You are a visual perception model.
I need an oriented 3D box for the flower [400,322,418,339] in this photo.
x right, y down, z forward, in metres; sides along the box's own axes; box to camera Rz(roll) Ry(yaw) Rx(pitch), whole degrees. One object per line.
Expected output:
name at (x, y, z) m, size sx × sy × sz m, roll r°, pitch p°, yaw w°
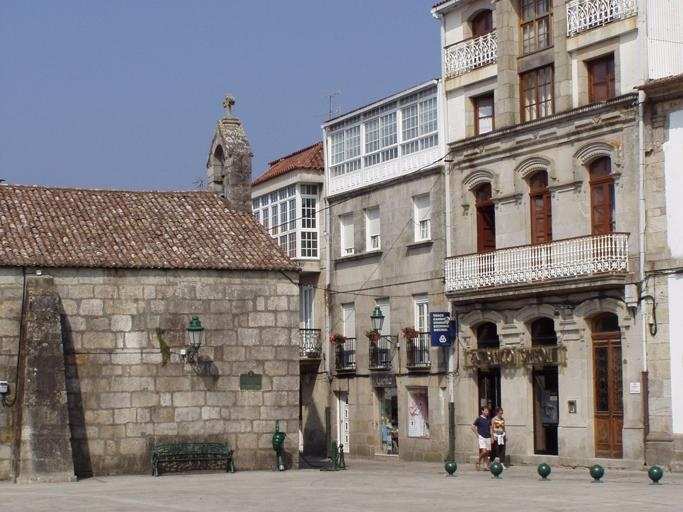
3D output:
flower at (2.466, 2.609, 59.344) m, size 0.524 × 0.566 × 0.887 m, roll 0°, pitch -13°, yaw -5°

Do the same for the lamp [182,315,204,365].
lamp at (-4.774, 2.548, 52.510) m, size 0.647 × 1.591 × 0.603 m, roll 1°, pitch -12°, yaw -10°

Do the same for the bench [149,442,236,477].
bench at (-4.789, 6.340, 52.027) m, size 2.588 × 1.127 × 0.606 m, roll 4°, pitch -13°, yaw -20°

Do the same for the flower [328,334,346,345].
flower at (-0.170, 3.066, 63.006) m, size 0.567 × 0.436 × 1.009 m, roll 0°, pitch -13°, yaw -3°
